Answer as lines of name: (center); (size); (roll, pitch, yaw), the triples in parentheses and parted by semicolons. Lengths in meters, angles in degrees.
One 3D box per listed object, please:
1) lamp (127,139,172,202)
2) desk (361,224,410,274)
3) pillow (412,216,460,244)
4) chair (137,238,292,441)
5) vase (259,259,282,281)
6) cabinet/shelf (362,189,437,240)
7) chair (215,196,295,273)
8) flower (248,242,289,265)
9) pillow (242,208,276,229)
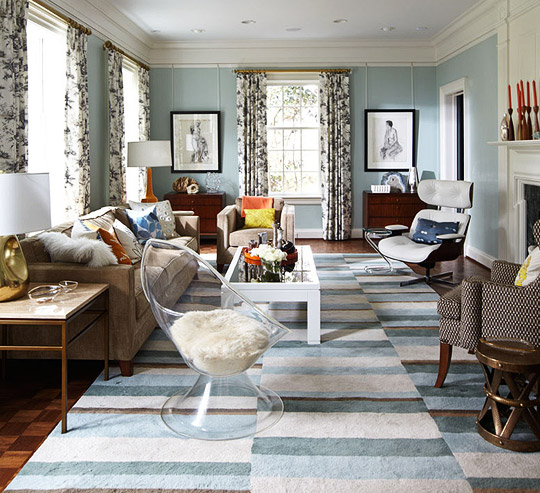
lamp: (-1.476, -0.922, 5.190); (0.492, 0.733, 0.546); (1, 9, 12)
desk: (1.474, 0.024, 5.339); (0.625, 0.616, 0.678); (-5, -8, 24)
pillow: (1.750, -0.167, 4.628); (0.121, 0.258, 0.396); (23, -6, -33)
chair: (-0.229, 0.394, 2.463); (0.890, 1.046, 0.887); (0, 4, 34)
vase: (0.009, 0.176, 3.276); (0.155, 0.152, 0.151); (5, 8, 10)
cabinet/shelf: (2.080, -0.613, 6.966); (1.317, 0.921, 0.717); (-1, 4, 0)
chair: (-0.113, -0.179, 5.675); (1.058, 1.001, 1.021); (0, 5, 2)
flower: (0.014, 0.045, 3.201); (0.170, 0.067, 0.168); (-3, 19, -33)
pillow: (-0.157, -0.386, 5.582); (0.346, 0.304, 0.105); (-1, -11, -4)
